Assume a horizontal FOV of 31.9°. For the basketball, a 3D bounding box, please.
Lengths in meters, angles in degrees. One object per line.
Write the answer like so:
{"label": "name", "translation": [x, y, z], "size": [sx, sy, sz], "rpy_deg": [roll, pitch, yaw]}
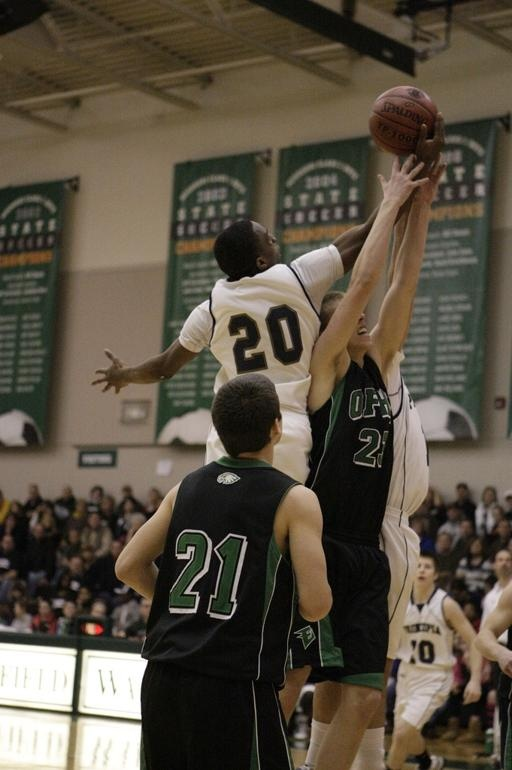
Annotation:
{"label": "basketball", "translation": [0.460, -0.827, 2.800], "size": [0.226, 0.229, 0.208], "rpy_deg": [10, 22, -1]}
